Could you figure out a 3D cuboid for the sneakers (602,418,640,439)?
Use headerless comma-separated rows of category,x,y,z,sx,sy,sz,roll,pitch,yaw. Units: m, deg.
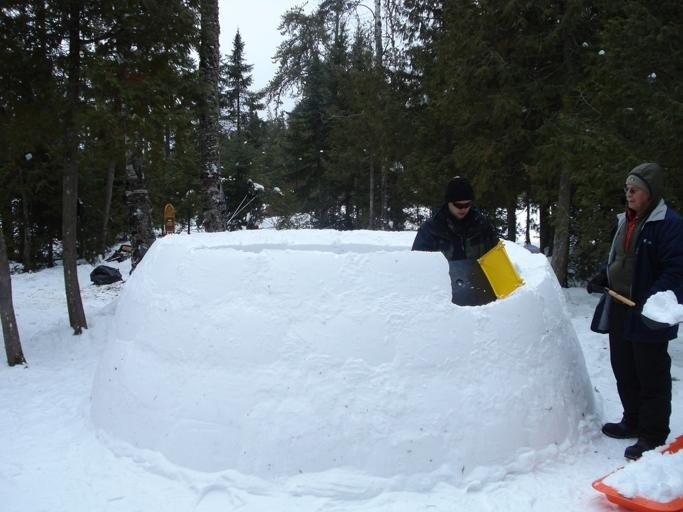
sneakers,3.442,2.145,7.820,0.419,0.220,0.177,4,3,15

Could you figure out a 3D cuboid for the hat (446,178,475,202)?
hat,1.558,-0.848,8.329,0.286,0.334,0.332,1,3,10

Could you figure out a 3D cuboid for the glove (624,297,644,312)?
glove,3.500,0.580,7.536,0.165,0.071,0.124,23,7,38

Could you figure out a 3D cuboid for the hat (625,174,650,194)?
hat,3.591,-0.875,7.665,0.185,0.130,0.233,3,10,-44

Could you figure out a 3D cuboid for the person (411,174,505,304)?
person,1.498,-0.209,8.299,1.030,1.638,0.807,-1,3,9

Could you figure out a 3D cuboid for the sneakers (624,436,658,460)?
sneakers,3.550,2.271,7.529,0.434,0.209,0.172,-7,-9,-9
